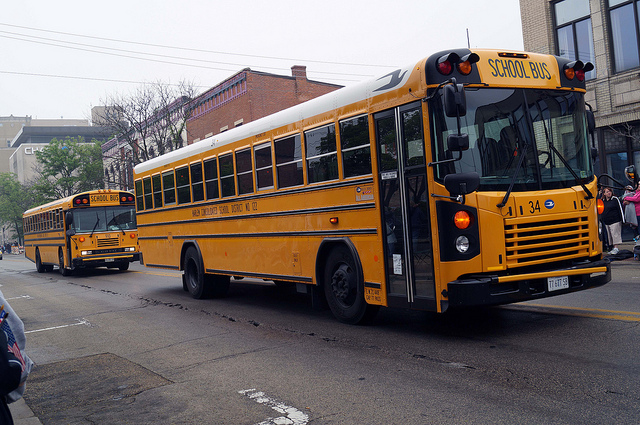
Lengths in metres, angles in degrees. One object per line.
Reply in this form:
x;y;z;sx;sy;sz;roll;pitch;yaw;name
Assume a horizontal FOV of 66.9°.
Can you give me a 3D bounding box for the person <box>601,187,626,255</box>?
9.001;0.256;14.971;0.503;2.018;0.933;-3;2;31;person
